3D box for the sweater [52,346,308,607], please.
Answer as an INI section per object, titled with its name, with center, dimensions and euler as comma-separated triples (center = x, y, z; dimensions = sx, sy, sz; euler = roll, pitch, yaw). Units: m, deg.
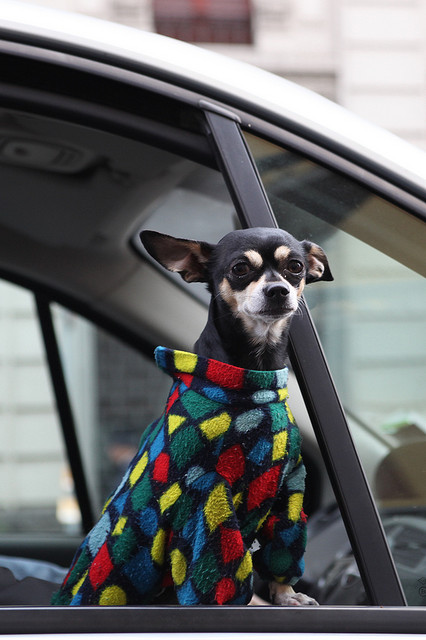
[sweater]
center = -0.070, 0.372, 1.787
dimensions = 0.665, 0.540, 0.434
euler = -5, -12, 4
